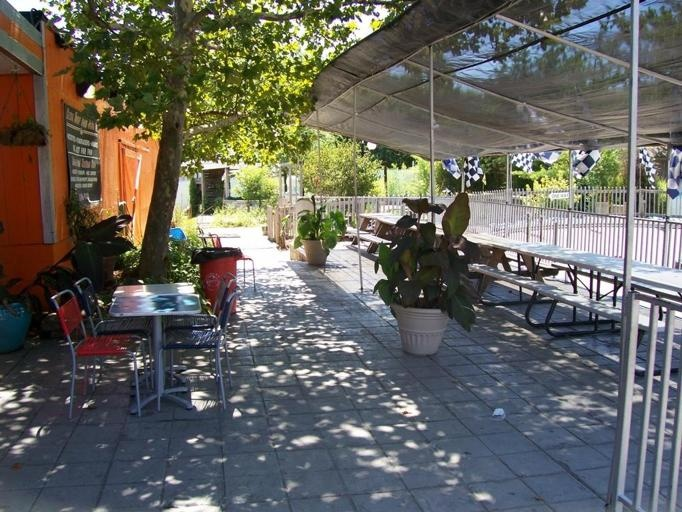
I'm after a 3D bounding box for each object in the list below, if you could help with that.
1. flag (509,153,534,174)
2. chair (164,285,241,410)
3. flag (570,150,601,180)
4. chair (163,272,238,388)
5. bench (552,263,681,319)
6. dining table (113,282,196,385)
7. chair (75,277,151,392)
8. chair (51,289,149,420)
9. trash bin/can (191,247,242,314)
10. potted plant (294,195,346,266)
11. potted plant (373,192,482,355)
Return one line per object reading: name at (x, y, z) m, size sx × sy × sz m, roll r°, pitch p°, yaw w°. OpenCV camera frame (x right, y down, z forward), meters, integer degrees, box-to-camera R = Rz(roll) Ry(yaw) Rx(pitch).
flag at (7.926, -4.043, 20.145) m, size 0.673 × 0.990 × 3.874 m, roll 2°, pitch 6°, yaw 20°
chair at (-1.465, 0.909, 4.715) m, size 0.759 × 1.079 × 0.606 m, roll 1°, pitch 11°, yaw -12°
flag at (8.395, -3.292, 15.931) m, size 0.726 × 0.908 × 4.202 m, roll 3°, pitch 6°, yaw 26°
chair at (-1.438, 0.825, 4.674) m, size 0.788 × 0.976 × 0.672 m, roll 2°, pitch 13°, yaw -4°
bench at (3.264, 0.426, 5.532) m, size 0.387 × 0.195 × 0.894 m, roll -8°, pitch 13°, yaw -26°
dining table at (-1.794, 0.851, 4.535) m, size 0.742 × 0.810 × 1.268 m, roll -1°, pitch 4°, yaw -25°
chair at (-2.361, 0.774, 4.997) m, size 0.780 × 0.993 × 0.612 m, roll -1°, pitch 9°, yaw -25°
chair at (-2.258, 0.853, 4.463) m, size 0.799 × 0.990 × 0.622 m, roll 2°, pitch 10°, yaw -18°
trash bin/can at (-2.047, 0.390, 7.734) m, size 0.848 × 0.994 × 0.759 m, roll 1°, pitch 1°, yaw 13°
potted plant at (-0.578, -0.676, 12.138) m, size 1.817 × 1.616 × 1.741 m, roll 1°, pitch -2°, yaw -11°
potted plant at (1.042, 0.257, 5.605) m, size 1.169 × 2.001 × 0.969 m, roll 1°, pitch 6°, yaw 14°
